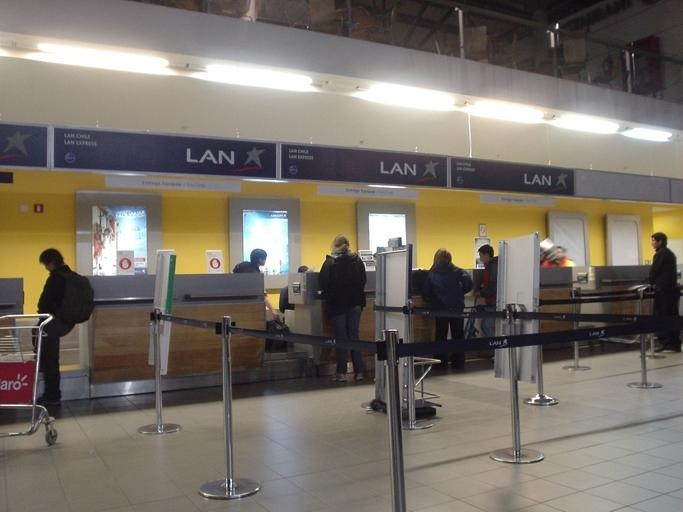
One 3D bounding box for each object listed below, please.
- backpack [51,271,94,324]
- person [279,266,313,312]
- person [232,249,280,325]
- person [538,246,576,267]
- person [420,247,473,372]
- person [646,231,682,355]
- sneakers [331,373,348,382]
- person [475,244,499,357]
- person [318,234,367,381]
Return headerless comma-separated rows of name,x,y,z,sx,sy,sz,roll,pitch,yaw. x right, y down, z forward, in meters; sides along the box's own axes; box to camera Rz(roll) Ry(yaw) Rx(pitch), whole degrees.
backpack,-2.847,0.448,6.419,0.375,0.572,0.193,-2,3,-26
person,-0.666,0.489,8.424,0.402,0.650,0.869,-1,3,-6
person,-1.157,0.410,7.986,0.473,1.330,0.818,-8,10,-22
person,3.663,0.009,10.181,0.393,0.282,0.721,1,4,40
person,1.423,0.734,8.110,0.618,1.659,0.768,0,3,26
person,4.857,0.551,8.969,0.438,1.809,0.835,0,3,27
sneakers,-0.028,1.525,7.584,0.213,0.090,0.078,2,0,40
person,2.084,0.509,8.596,0.249,1.357,0.753,0,2,13
person,0.028,0.656,7.337,0.543,1.805,0.469,-1,2,1
